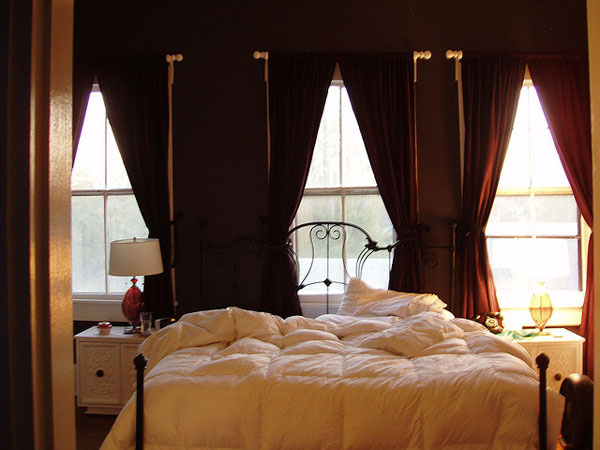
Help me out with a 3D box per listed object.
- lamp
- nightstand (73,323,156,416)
[{"bbox_3d":[-1.302,0.469,4.985,0.392,0.773,0.397,9,-13,-23],"label":"lamp"},{"bbox_3d":[-1.434,1.241,5.098,0.402,0.656,0.613,0,-12,17],"label":"nightstand"}]
